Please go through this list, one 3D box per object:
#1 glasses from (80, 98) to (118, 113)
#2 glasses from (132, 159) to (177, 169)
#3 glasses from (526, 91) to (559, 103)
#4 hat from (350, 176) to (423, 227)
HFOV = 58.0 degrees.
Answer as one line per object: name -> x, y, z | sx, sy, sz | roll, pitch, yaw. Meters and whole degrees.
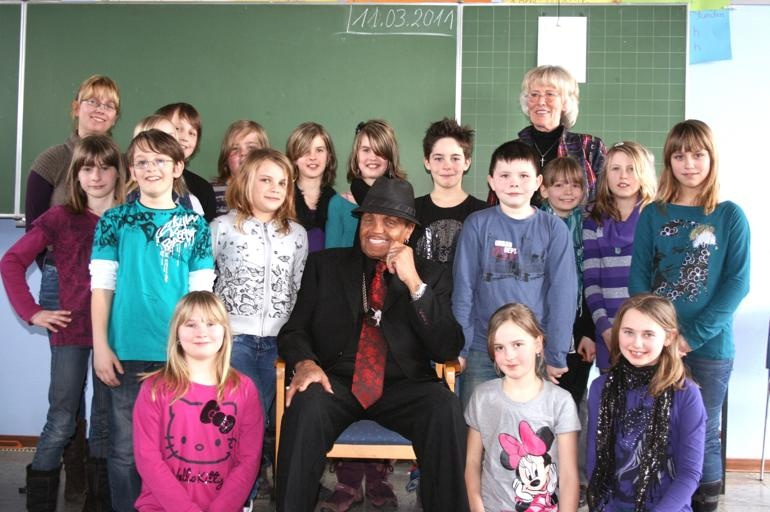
glasses -> -2.044, -1.069, 4.993 | 0.228, 0.078, 0.067 | -3, 6, -35
glasses -> -1.352, -0.529, 4.065 | 0.211, 0.058, 0.055 | -1, 6, -17
glasses -> 1.152, -1.146, 5.040 | 0.130, 0.040, 0.129 | -5, -20, 14
hat -> 0.025, -0.337, 4.203 | 0.494, 0.231, 0.443 | 10, -1, 27
